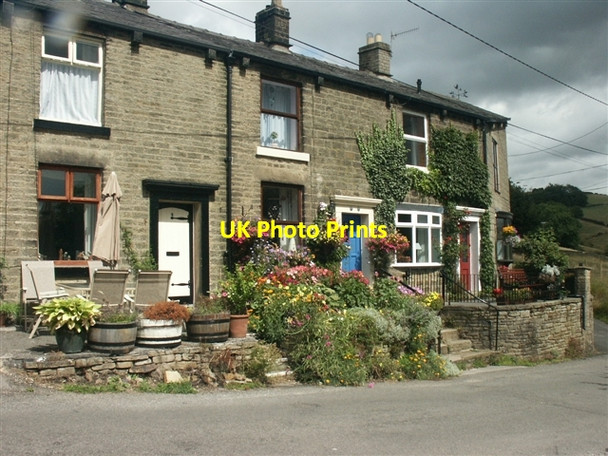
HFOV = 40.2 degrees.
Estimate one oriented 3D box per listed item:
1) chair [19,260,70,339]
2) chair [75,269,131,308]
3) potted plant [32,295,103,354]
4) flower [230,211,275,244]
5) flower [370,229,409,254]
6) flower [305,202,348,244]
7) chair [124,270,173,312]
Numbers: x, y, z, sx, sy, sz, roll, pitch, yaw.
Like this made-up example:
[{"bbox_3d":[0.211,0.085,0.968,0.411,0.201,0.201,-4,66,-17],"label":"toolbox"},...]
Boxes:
[{"bbox_3d":[-5.998,1.858,19.344,0.916,1.143,0.810,15,-3,-10],"label":"chair"},{"bbox_3d":[-4.376,1.350,18.885,0.646,0.844,0.841,4,1,-12],"label":"chair"},{"bbox_3d":[-4.949,1.997,17.302,1.141,1.081,1.192,1,-9,-4],"label":"potted plant"},{"bbox_3d":[-1.510,0.085,22.867,1.134,0.743,0.745,-2,14,-25],"label":"flower"},{"bbox_3d":[2.451,0.450,25.579,0.794,0.514,0.817,3,-1,-28],"label":"flower"},{"bbox_3d":[0.561,-0.037,24.515,1.125,0.840,1.159,1,8,-10],"label":"flower"},{"bbox_3d":[-3.626,1.455,19.575,0.651,0.741,1.151,3,-2,-27],"label":"chair"}]
